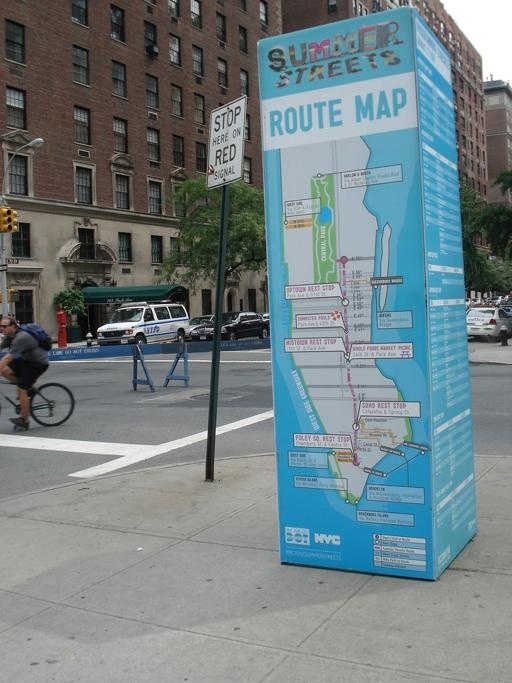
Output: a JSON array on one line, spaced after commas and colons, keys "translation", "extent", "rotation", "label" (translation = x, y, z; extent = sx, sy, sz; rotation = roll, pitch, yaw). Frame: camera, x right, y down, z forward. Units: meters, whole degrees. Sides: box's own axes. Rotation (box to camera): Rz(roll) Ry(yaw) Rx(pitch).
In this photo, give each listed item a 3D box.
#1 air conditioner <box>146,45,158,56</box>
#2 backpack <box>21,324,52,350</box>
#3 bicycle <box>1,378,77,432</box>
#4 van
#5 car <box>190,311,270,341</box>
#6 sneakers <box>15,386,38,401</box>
[{"translation": [-6.293, -17.764, 43.649], "extent": [0.500, 0.601, 0.906], "rotation": [-2, 2, 25], "label": "air conditioner"}, {"translation": [-3.105, -0.053, 10.008], "extent": [0.394, 0.366, 0.366], "rotation": [-4, 2, -21], "label": "backpack"}, {"translation": [-3.364, 0.896, 10.692], "extent": [1.311, 0.835, 0.647], "rotation": [-4, 4, -17], "label": "bicycle"}, {"translation": [-5.193, -0.787, 32.408], "extent": [1.938, 1.767, 3.799], "rotation": [-2, -2, 34], "label": "van"}, {"translation": [-1.057, -0.705, 35.072], "extent": [1.534, 1.203, 4.057], "rotation": [-2, -1, 33], "label": "car"}, {"translation": [-3.313, 0.722, 10.200], "extent": [0.311, 0.205, 0.162], "rotation": [1, -7, -7], "label": "sneakers"}]
